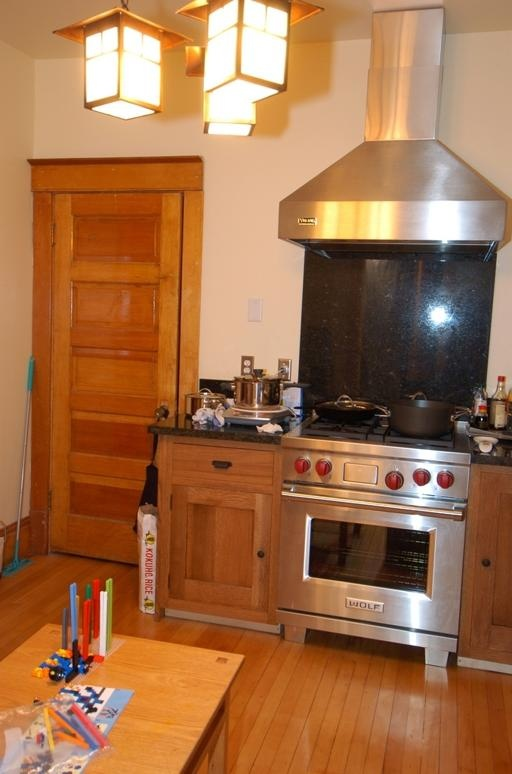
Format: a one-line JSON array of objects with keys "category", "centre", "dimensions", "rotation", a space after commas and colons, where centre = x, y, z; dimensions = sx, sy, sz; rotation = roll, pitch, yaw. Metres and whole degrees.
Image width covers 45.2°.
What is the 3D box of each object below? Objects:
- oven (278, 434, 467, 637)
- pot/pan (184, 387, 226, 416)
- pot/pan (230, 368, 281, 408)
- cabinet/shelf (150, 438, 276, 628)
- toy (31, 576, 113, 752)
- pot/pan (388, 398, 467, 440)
[{"category": "oven", "centre": [0.486, 0.597, 2.502], "dimensions": [0.729, 0.743, 0.553], "rotation": [3, -3, 15]}, {"category": "pot/pan", "centre": [-0.237, 0.067, 2.787], "dimensions": [0.133, 0.079, 0.115], "rotation": [5, 7, 40]}, {"category": "pot/pan", "centre": [0.009, 0.010, 2.606], "dimensions": [0.178, 0.133, 0.163], "rotation": [1, 0, 2]}, {"category": "cabinet/shelf", "centre": [-0.120, 0.559, 2.667], "dimensions": [0.480, 0.765, 0.389], "rotation": [3, 8, 3]}, {"category": "toy", "centre": [-0.341, 0.530, 1.201], "dimensions": [0.104, 0.124, 0.341], "rotation": [3, 1, 1]}, {"category": "pot/pan", "centre": [0.619, 0.123, 2.411], "dimensions": [0.209, 0.082, 0.198], "rotation": [-1, 9, -8]}]
